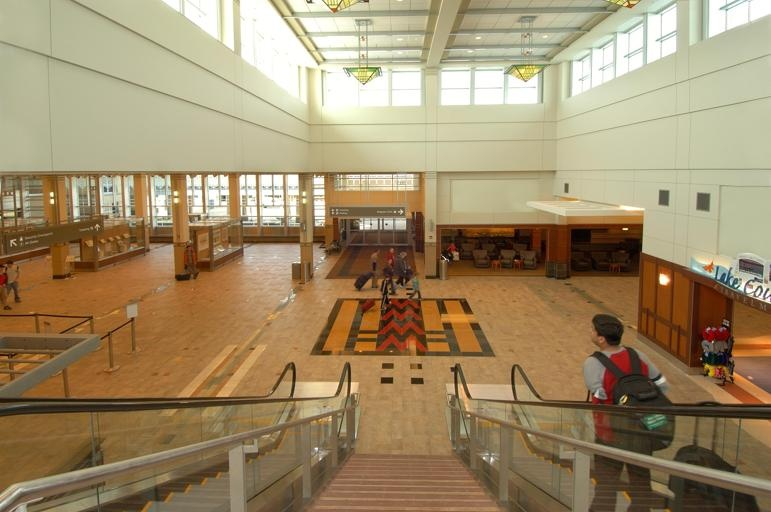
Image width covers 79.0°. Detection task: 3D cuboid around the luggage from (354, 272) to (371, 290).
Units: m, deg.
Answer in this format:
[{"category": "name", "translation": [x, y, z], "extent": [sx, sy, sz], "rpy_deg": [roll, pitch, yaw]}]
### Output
[{"category": "luggage", "translation": [-1.073, 1.163, 20.884], "extent": [0.294, 0.828, 0.623], "rpy_deg": [32, 9, -6]}]

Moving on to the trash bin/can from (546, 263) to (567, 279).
[{"category": "trash bin/can", "translation": [8.656, 0.712, 23.824], "extent": [1.049, 0.820, 0.491], "rpy_deg": [8, 13, 34]}]

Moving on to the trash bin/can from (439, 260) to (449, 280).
[{"category": "trash bin/can", "translation": [2.969, 0.644, 23.614], "extent": [0.395, 1.103, 0.856], "rpy_deg": [2, 11, 5]}]

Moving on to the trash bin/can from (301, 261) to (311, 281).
[{"category": "trash bin/can", "translation": [-3.824, 0.725, 22.247], "extent": [0.535, 0.772, 0.946], "rpy_deg": [1, 6, 3]}]
